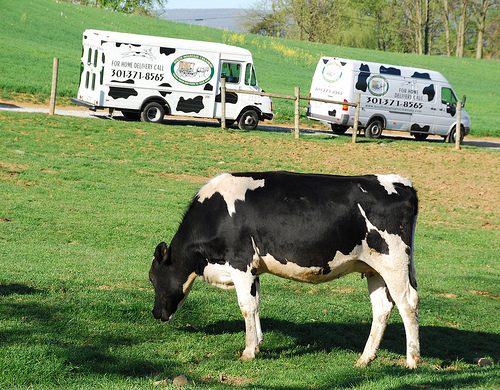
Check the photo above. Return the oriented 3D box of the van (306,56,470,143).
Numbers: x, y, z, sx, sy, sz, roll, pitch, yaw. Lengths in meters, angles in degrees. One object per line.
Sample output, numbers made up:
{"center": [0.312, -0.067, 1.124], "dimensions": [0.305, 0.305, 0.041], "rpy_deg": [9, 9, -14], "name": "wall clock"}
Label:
{"center": [6.262, -4.381, 37.097], "dimensions": [6.887, 3.503, 3.514], "rpy_deg": [-2, 10, -21], "name": "van"}
